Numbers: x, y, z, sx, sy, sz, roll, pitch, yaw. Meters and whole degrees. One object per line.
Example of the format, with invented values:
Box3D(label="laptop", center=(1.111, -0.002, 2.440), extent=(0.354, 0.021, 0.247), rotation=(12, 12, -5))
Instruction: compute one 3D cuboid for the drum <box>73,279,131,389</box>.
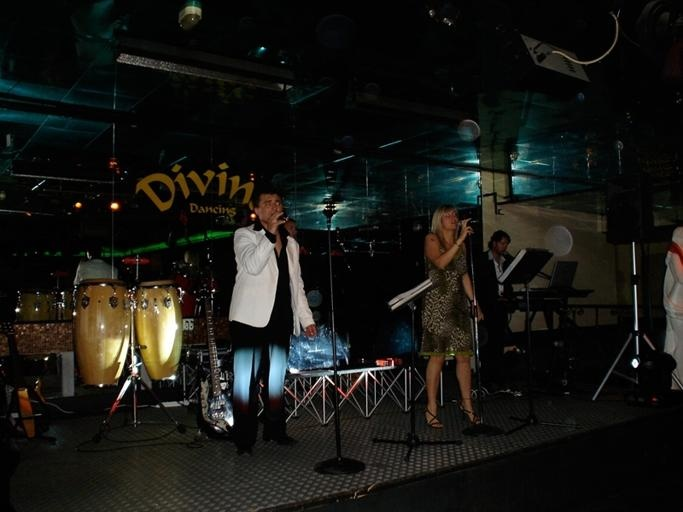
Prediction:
Box3D(label="drum", center=(-2.554, 0.815, 6.238), extent=(0.583, 1.135, 0.289), rotation=(-4, 6, -24))

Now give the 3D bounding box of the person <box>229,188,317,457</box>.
Box3D(label="person", center=(-0.730, 0.648, 5.749), extent=(0.541, 2.571, 0.852), rotation=(3, 7, 37))

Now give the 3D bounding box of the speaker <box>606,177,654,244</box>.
Box3D(label="speaker", center=(3.695, -0.603, 7.525), extent=(0.490, 0.852, 0.393), rotation=(2, 6, 30))

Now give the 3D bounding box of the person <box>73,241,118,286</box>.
Box3D(label="person", center=(-3.254, 0.104, 7.627), extent=(0.497, 0.941, 0.517), rotation=(0, -16, -23))

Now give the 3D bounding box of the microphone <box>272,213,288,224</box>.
Box3D(label="microphone", center=(-0.567, -0.348, 5.514), extent=(0.098, 0.101, 0.025), rotation=(3, -29, -4))

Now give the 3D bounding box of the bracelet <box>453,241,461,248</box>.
Box3D(label="bracelet", center=(1.179, -0.119, 5.933), extent=(0.059, 0.043, 0.022), rotation=(-37, -22, -3))

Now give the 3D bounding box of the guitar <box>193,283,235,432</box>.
Box3D(label="guitar", center=(-1.332, 1.152, 6.149), extent=(0.328, 1.409, 0.514), rotation=(-2, 5, -6))

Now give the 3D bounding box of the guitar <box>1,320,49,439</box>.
Box3D(label="guitar", center=(-3.543, 1.327, 6.475), extent=(0.363, 1.257, 1.248), rotation=(-4, 6, -28))

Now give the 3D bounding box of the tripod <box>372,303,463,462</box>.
Box3D(label="tripod", center=(0.689, 1.162, 5.893), extent=(0.811, 1.457, 1.286), rotation=(-2, 5, -9))
